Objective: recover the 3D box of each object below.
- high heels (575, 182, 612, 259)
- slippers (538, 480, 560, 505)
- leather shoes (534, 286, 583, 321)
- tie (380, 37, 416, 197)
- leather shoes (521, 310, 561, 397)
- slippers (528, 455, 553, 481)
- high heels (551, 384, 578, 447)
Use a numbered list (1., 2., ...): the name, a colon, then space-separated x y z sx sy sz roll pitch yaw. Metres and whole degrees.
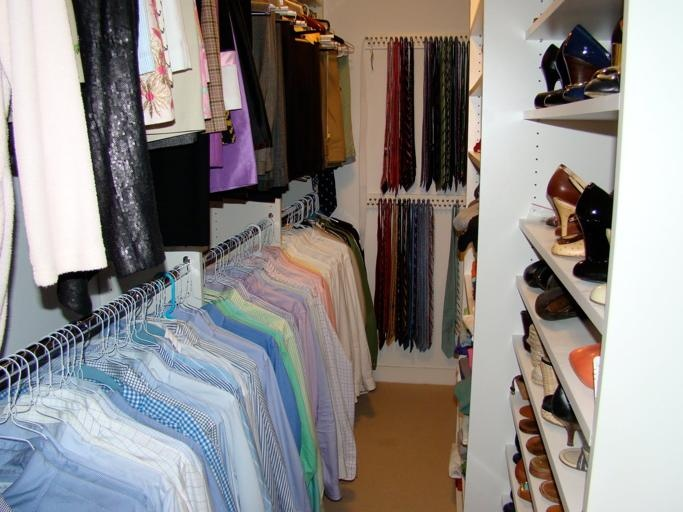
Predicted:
1. high heels: 0.566 -0.083 1.167 0.069 0.136 0.234 -5 17 25
2. slippers: 0.569 0.642 1.427 0.052 0.014 0.057 -14 28 -22
3. leather shoes: 0.598 0.133 1.472 0.093 0.063 0.179 12 17 28
4. tie: 0.387 -0.941 3.536 0.201 0.975 0.073 -1 10 -4
5. leather shoes: 0.579 0.298 1.524 0.082 0.237 0.066 -15 8 25
6. slippers: 0.571 0.608 1.499 0.052 0.017 0.059 -6 11 19
7. high heels: 0.513 0.383 1.276 0.056 0.088 0.196 0 6 6
